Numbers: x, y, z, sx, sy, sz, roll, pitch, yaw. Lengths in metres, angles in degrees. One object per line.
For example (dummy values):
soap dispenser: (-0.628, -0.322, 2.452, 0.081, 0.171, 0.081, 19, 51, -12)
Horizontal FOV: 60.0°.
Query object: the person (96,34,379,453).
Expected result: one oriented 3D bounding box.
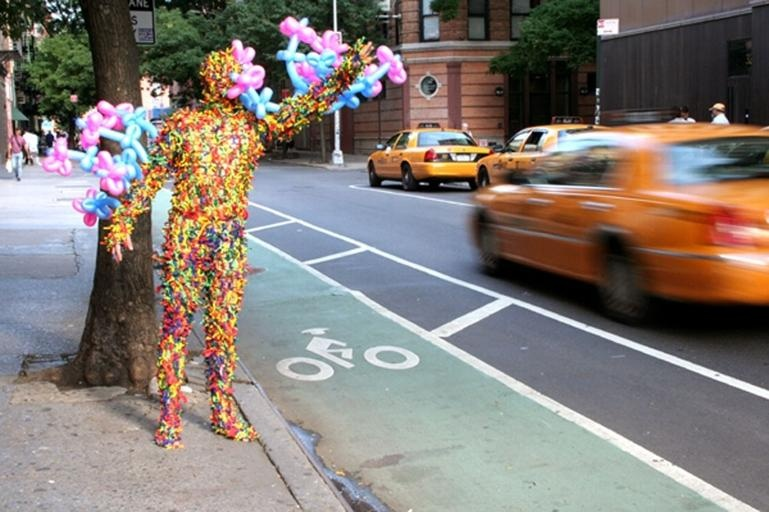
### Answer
person: (-1.091, -0.060, 4.531, 1.509, 2.628, 0.506, -2, 11, -20)
